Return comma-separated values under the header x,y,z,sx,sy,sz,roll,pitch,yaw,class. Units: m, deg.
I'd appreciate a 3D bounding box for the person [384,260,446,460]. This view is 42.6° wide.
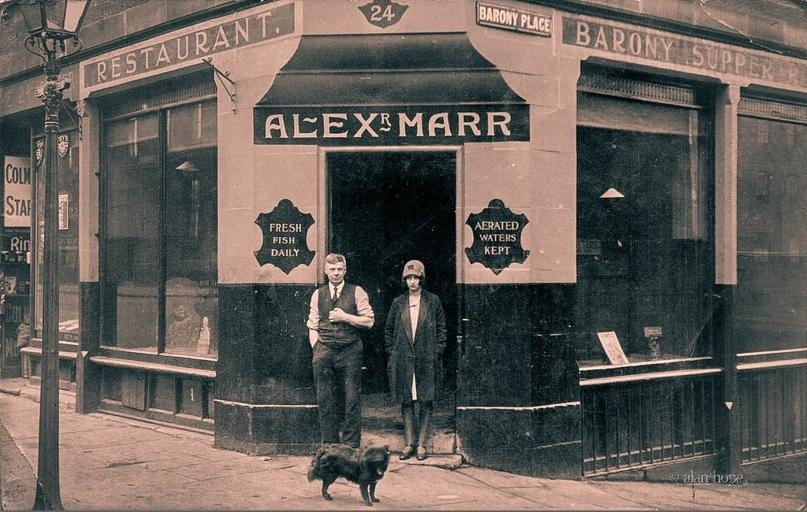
x,y,z,sx,sy,sz,roll,pitch,yaw,class
0.173,1.808,17.967,1.027,3.449,0.396,1,-6,0,person
